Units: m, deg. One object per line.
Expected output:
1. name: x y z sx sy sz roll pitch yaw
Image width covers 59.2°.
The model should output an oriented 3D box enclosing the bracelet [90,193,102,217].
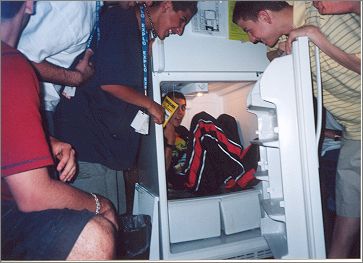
1. bracelet: -0.388 0.340 1.479 0.018 0.078 0.056 5 -11 -37
